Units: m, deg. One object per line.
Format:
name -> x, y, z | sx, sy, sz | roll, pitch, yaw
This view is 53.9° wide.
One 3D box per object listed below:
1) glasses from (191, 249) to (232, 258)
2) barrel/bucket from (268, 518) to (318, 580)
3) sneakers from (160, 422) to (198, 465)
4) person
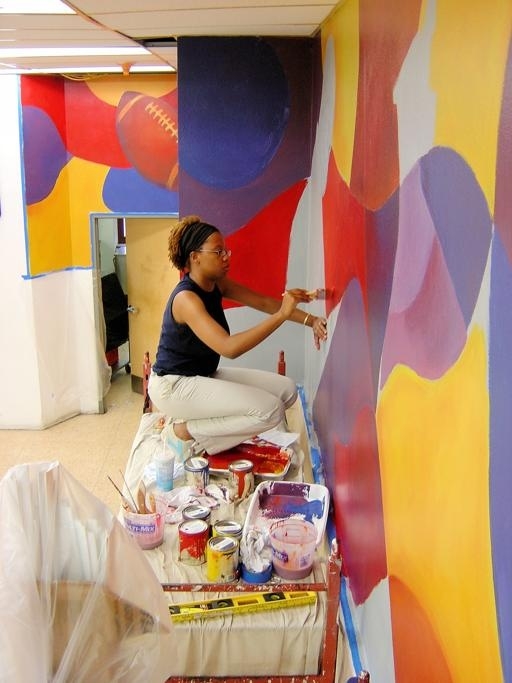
glasses -> -0.214, -0.440, 2.465 | 0.160, 0.045, 0.066 | 0, 13, -20
barrel/bucket -> 0.145, 0.696, 1.822 | 0.136, 0.165, 0.171 | 7, 13, 29
sneakers -> -0.423, 0.542, 2.695 | 0.152, 0.163, 0.082 | 15, -26, -3
person -> -0.154, -0.028, 2.730 | 0.745, 1.324, 0.510 | -4, 10, -18
